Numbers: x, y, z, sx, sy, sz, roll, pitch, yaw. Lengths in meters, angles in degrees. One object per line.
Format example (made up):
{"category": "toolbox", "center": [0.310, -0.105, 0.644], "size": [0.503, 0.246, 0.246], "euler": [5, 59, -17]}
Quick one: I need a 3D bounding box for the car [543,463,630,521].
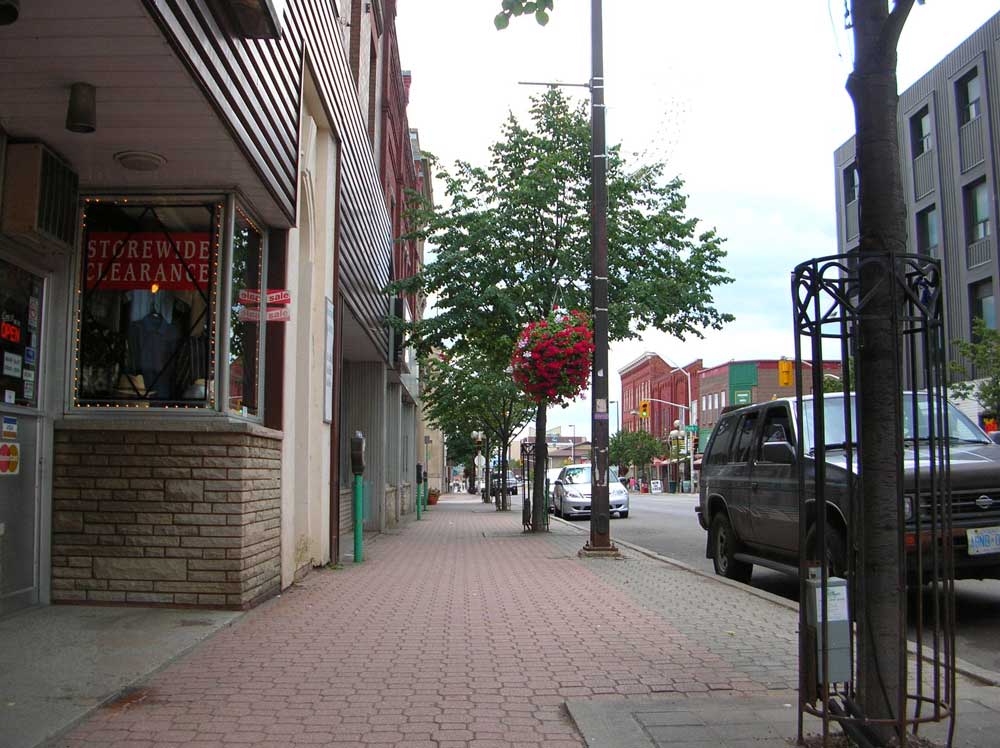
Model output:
{"category": "car", "center": [2.612, 3.539, 28.196], "size": [1.519, 1.431, 3.137], "euler": [0, -16, -5]}
